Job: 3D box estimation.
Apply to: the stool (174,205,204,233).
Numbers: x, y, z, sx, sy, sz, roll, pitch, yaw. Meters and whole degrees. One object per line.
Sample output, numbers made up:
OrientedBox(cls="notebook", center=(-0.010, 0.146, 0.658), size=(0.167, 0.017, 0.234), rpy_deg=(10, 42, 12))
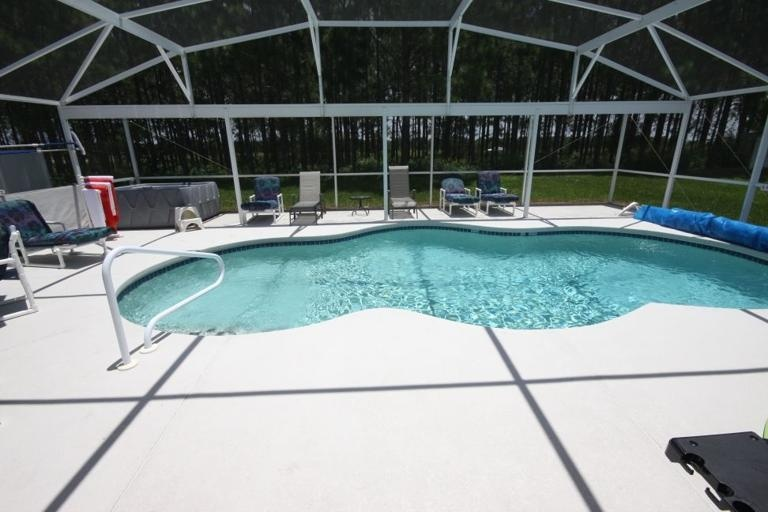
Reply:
OrientedBox(cls="stool", center=(-4.749, -0.904, 10.350), size=(0.636, 0.641, 0.679), rpy_deg=(9, 13, 35))
